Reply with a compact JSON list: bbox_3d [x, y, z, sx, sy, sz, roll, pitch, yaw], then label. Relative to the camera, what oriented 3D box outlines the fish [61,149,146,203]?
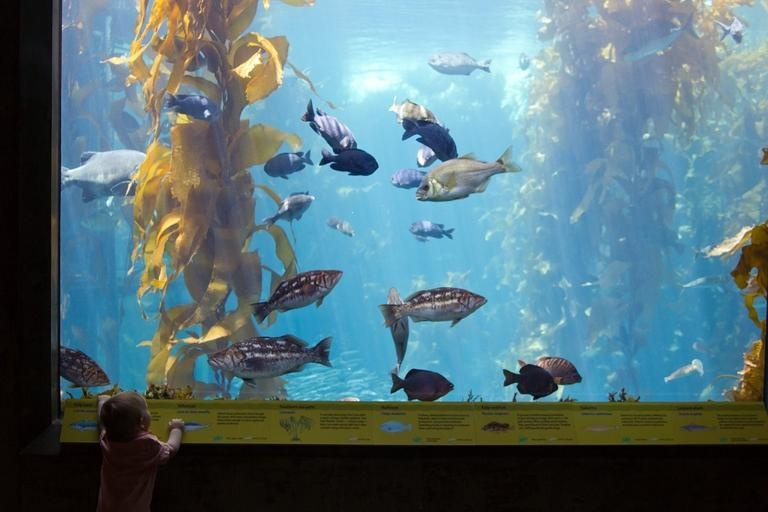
[{"bbox_3d":[-2.640,-0.761,8.444,1.159,0.454,0.228,-4,6,10],"label":"fish"}]

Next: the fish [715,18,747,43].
[{"bbox_3d":[3.445,-2.273,8.857,0.240,0.259,0.350,-2,3,18],"label":"fish"}]

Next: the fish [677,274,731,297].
[{"bbox_3d":[3.361,0.322,9.467,0.712,0.269,0.190,-5,-5,-14],"label":"fish"}]

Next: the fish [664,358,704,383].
[{"bbox_3d":[3.023,1.186,8.937,0.459,0.171,0.161,-21,5,-22],"label":"fish"}]
